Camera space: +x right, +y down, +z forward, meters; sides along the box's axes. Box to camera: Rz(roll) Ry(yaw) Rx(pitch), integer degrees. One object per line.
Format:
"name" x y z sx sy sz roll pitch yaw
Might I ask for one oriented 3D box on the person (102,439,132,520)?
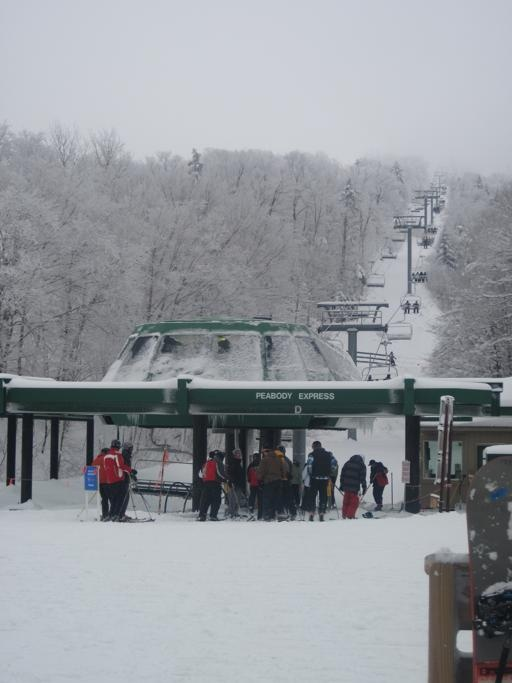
"person" -1.995 1.957 18.683 0.375 1.149 0.869 -1 0 -5

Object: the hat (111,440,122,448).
"hat" -2.011 1.461 18.705 0.118 0.144 0.152 5 16 -2
